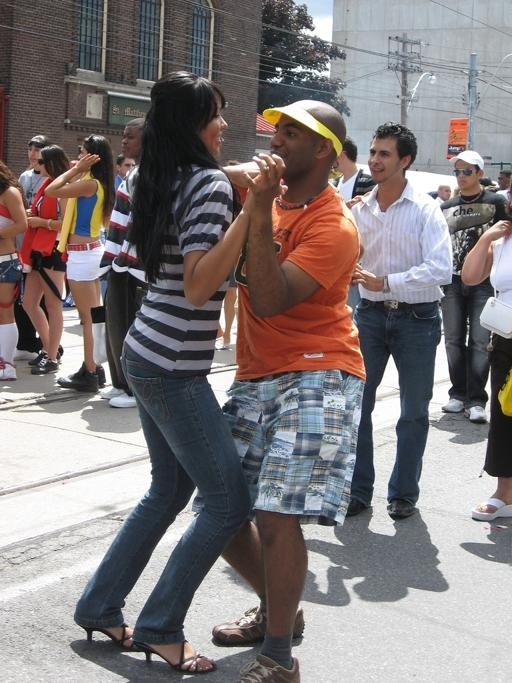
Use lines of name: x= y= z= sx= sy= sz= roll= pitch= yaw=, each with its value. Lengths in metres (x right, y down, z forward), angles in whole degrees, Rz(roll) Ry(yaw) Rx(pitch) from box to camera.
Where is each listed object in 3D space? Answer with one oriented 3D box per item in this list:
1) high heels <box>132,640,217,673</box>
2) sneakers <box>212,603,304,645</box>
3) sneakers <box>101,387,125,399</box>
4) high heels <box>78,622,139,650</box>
high heels: x=-0.242 y=1.003 z=2.216 sx=0.285 sy=0.092 sz=0.109 roll=1 pitch=2 yaw=1
sneakers: x=0.030 y=1.025 z=2.527 sx=0.416 sy=0.145 sz=0.129 roll=2 pitch=-14 yaw=-11
sneakers: x=-1.318 y=0.476 z=6.360 sx=0.094 sy=0.093 sz=0.245 roll=-2 pitch=-9 yaw=24
high heels: x=-0.509 y=0.986 z=2.328 sx=0.238 sy=0.076 sz=0.083 roll=-1 pitch=2 yaw=-1
